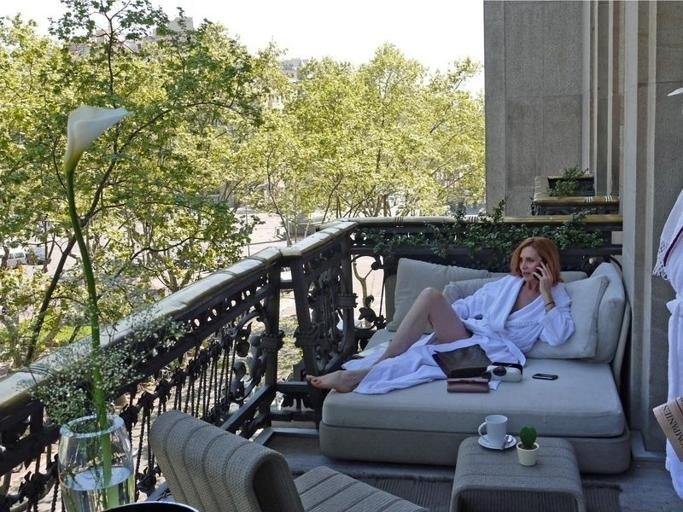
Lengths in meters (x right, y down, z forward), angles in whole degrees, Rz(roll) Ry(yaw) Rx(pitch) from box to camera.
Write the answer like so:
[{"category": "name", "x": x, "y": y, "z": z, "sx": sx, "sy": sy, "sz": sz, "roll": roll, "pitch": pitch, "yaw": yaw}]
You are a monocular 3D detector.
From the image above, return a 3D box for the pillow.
[{"category": "pillow", "x": 1.197, "y": 0.300, "z": 4.960, "sx": 1.256, "sy": 0.581, "sz": 0.925, "roll": 3, "pitch": 1, "yaw": 17}]

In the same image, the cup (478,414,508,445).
[{"category": "cup", "x": 0.851, "y": 0.973, "z": 3.691, "sx": 0.186, "sy": 0.179, "sz": 0.126, "roll": -4, "pitch": 4, "yaw": 7}]

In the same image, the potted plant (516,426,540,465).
[{"category": "potted plant", "x": 0.983, "y": 0.997, "z": 3.462, "sx": 0.105, "sy": 0.208, "sz": 0.108, "roll": -2, "pitch": 4, "yaw": 13}]

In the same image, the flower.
[{"category": "flower", "x": -0.718, "y": 0.146, "z": 2.008, "sx": 0.186, "sy": 1.282, "sz": 0.537, "roll": -5, "pitch": 4, "yaw": -22}]

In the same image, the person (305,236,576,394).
[{"category": "person", "x": 0.744, "y": 0.528, "z": 4.581, "sx": 1.682, "sy": 0.776, "sz": 0.994, "roll": -7, "pitch": 13, "yaw": -10}]
